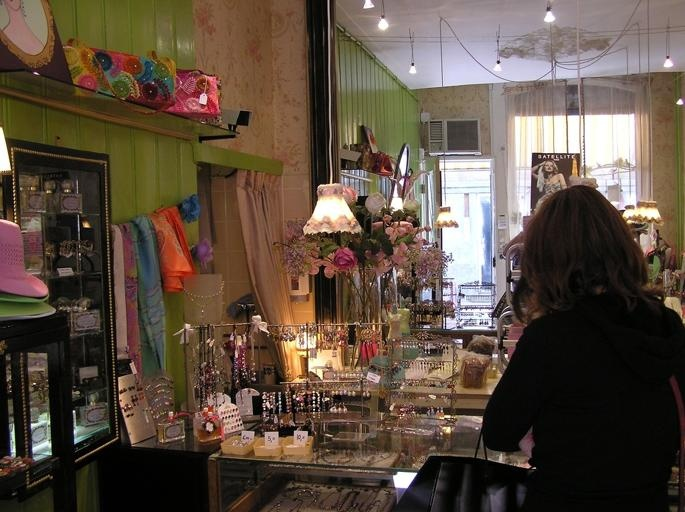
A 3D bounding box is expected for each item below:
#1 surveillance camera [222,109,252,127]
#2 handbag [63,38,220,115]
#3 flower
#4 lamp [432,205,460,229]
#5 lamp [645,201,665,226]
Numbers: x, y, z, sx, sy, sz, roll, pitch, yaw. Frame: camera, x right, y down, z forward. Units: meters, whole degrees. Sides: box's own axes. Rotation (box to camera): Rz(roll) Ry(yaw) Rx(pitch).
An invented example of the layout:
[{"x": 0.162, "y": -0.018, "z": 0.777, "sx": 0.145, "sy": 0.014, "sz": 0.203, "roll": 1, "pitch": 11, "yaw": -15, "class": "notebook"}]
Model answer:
[{"x": -0.651, "y": -0.835, "z": 3.947, "sx": 0.157, "sy": 0.090, "sz": 0.171, "roll": -5, "pitch": 2, "yaw": -4, "class": "surveillance camera"}, {"x": -0.994, "y": -0.891, "z": 3.227, "sx": 0.192, "sy": 0.351, "sz": 0.902, "roll": -3, "pitch": 2, "yaw": 34, "class": "handbag"}, {"x": 0.089, "y": -0.086, "z": 3.617, "sx": 0.699, "sy": 0.666, "sz": 0.641, "roll": 0, "pitch": 1, "yaw": 16, "class": "flower"}, {"x": 0.611, "y": -0.238, "z": 3.876, "sx": 0.123, "sy": 0.105, "sz": 0.125, "roll": -7, "pitch": 8, "yaw": -29, "class": "lamp"}, {"x": 1.723, "y": -0.238, "z": 3.602, "sx": 0.098, "sy": 0.128, "sz": 0.104, "roll": -3, "pitch": 8, "yaw": 17, "class": "lamp"}]
